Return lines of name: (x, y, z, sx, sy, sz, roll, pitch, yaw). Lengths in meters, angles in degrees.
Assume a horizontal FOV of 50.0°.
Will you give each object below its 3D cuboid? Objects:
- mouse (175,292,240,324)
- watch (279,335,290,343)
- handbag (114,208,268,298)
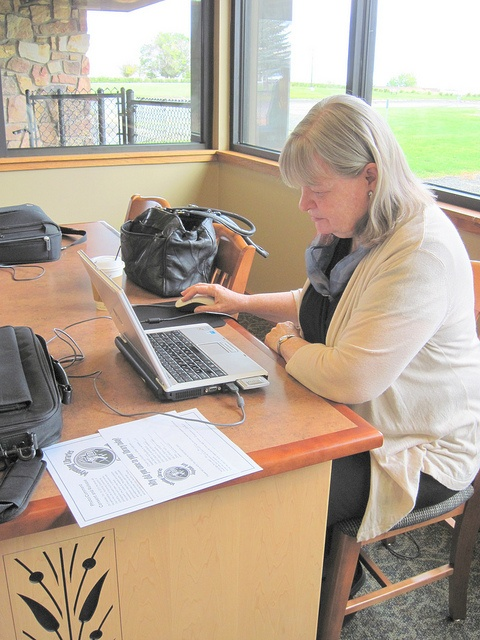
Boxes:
mouse: (-0.083, -0.029, 1.334, 0.131, 0.038, 0.071, 6, 7, -4)
watch: (0.097, 0.042, 1.122, 0.006, 0.017, 0.014, 44, 16, -1)
handbag: (-0.139, -0.244, 1.619, 0.420, 0.200, 0.290, -12, 26, -30)
